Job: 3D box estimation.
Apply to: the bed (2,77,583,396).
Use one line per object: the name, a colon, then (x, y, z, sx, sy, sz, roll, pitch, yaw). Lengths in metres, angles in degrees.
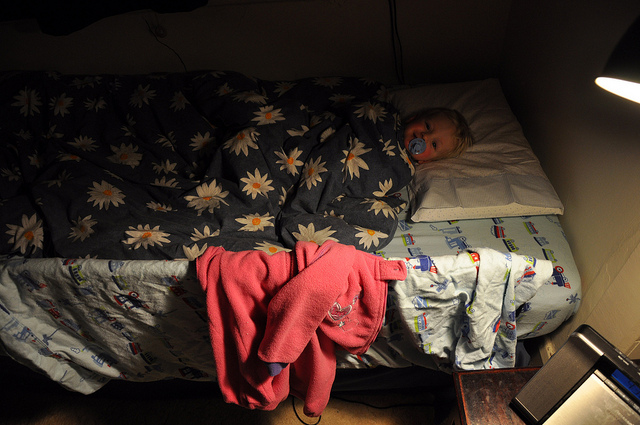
bed: (-0.049, 0.185, 1.879, 1.702, 0.548, 1.146, -4, 56, 1)

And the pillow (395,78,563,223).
pillow: (0.695, -0.292, 2.239, 0.616, 0.453, 0.709, 0, 24, 0)
